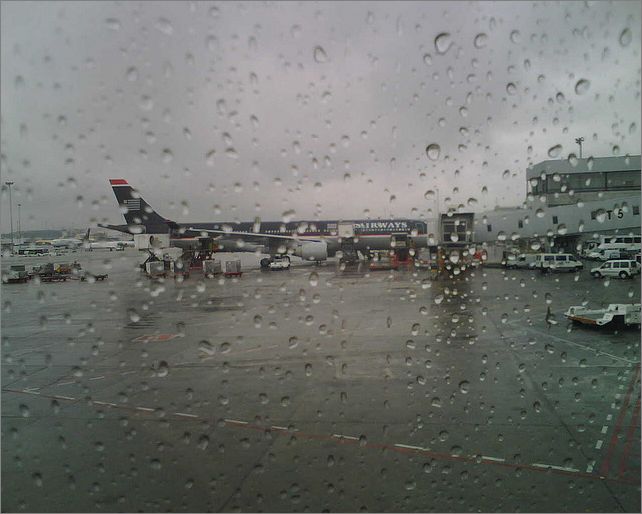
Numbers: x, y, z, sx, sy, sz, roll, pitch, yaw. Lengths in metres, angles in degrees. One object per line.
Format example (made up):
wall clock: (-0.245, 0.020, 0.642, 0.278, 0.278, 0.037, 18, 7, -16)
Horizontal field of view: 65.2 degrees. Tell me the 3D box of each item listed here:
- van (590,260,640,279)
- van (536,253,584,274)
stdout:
van: (13.495, 0.649, 23.473, 2.267, 1.145, 1.369, 4, 6, 36)
van: (13.075, 0.400, 27.986, 1.994, 1.062, 1.274, -3, 4, 11)
